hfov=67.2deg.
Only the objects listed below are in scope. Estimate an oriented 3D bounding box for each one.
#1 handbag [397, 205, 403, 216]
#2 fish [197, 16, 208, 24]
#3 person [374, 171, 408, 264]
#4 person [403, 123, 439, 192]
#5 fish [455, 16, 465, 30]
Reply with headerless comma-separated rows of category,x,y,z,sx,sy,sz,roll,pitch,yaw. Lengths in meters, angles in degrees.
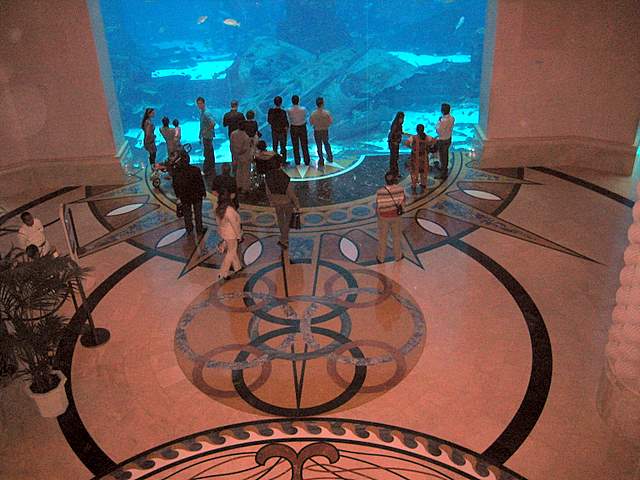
handbag,1.337,-0.505,8.067,0.088,0.154,0.142,1,17,8
fish,-4.075,-7.776,16.785,0.353,0.125,0.403,5,-1,8
person,1.232,-0.446,8.498,0.479,1.599,0.995,-2,15,8
person,2.271,-1.865,10.829,0.593,1.478,0.998,0,15,15
fish,4.235,-6.606,14.565,0.140,0.054,0.240,28,-24,5
